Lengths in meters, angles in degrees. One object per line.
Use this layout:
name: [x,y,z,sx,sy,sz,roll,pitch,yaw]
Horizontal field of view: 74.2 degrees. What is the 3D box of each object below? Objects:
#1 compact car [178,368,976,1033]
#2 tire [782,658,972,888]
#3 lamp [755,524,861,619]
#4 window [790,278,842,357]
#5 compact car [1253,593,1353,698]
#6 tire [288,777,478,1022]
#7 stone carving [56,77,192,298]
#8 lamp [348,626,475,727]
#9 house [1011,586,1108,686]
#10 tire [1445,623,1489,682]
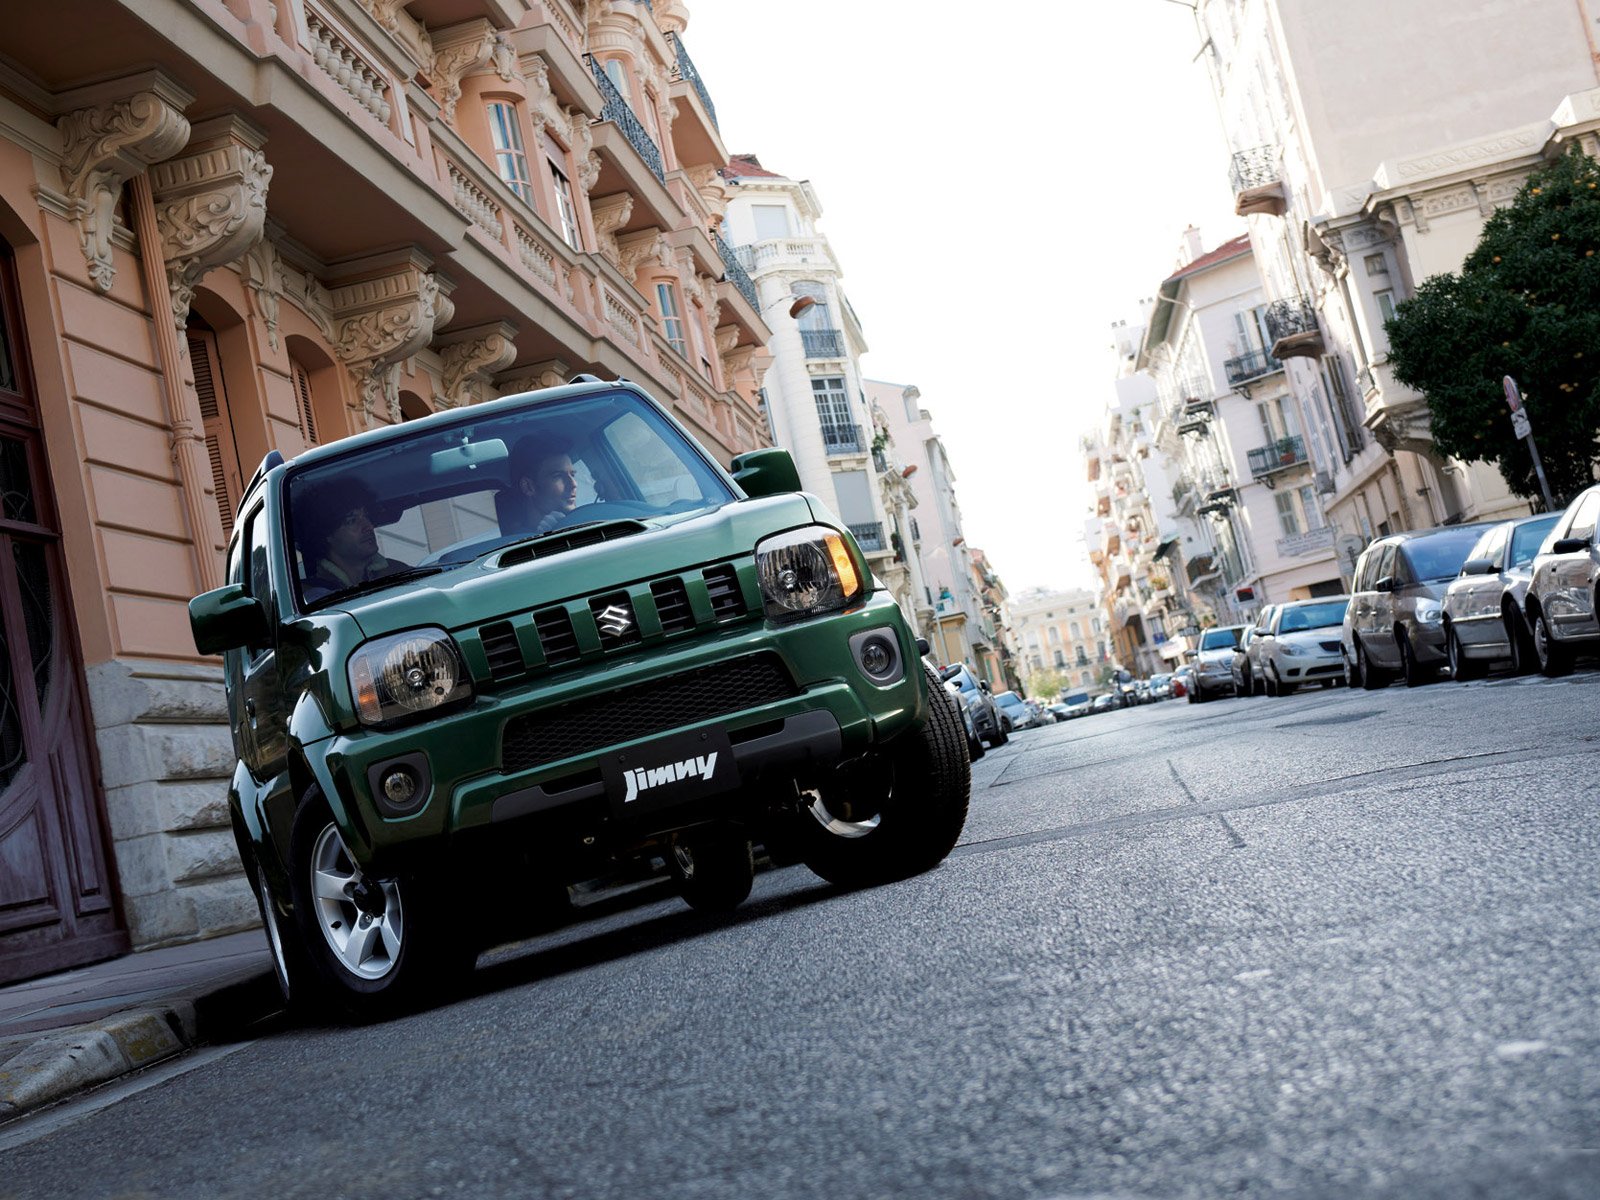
compact car: [-1.233,0.280,5.295,3.695,3.238,1.646,-11,-8,11]
tire: [0.370,0.872,5.251,1.041,1.262,0.412,-6,1,27]
lamp: [0.023,-0.120,4.921,0.403,0.454,0.151,-8,-10,-20]
window: [0.806,-16.517,61.821,2.730,0.488,5.402,-2,-42,7]
compact car: [12.069,1.140,25.624,1.993,1.761,3.463,-13,-9,24]
tire: [-2.191,1.503,5.182,0.343,0.996,0.935,-14,-13,17]
stone carving: [-7.206,-4.384,11.398,1.144,1.928,1.176,1,13,6]
lamp: [-1.715,0.335,4.601,0.479,0.406,0.187,0,-6,0]
house: [59.902,8.962,242.131,16.848,19.214,10.704,-7,-10,-1]
tire: [9.874,0.755,15.657,0.304,0.925,0.863,-2,-1,-1]
